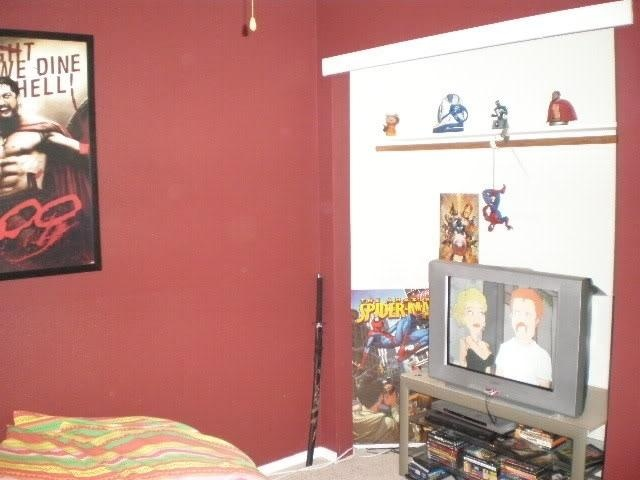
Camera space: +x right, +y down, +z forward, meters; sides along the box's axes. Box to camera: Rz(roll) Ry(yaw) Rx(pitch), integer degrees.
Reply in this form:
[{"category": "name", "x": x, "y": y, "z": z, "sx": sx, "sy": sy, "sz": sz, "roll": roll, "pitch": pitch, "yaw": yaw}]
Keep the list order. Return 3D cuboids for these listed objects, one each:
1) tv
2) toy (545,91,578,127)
[{"category": "tv", "x": 1.126, "y": 0.395, "z": 3.738, "sx": 1.177, "sy": 1.061, "sz": 0.656, "roll": 4, "pitch": 5, "yaw": 37}, {"category": "toy", "x": 1.411, "y": -0.737, "z": 3.604, "sx": 0.155, "sy": 0.147, "sz": 0.058, "roll": 4, "pitch": 6, "yaw": 17}]
